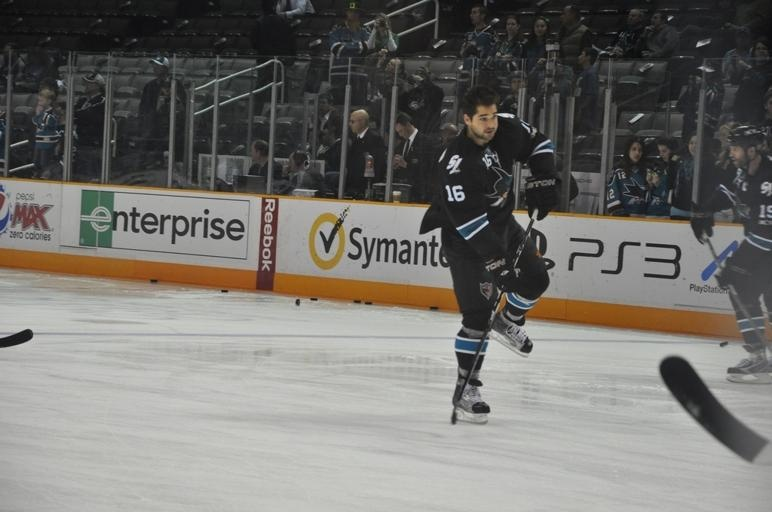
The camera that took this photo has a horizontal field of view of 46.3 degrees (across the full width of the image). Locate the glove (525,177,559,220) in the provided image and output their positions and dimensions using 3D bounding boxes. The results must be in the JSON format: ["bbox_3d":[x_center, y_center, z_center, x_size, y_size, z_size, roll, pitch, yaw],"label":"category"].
[{"bbox_3d":[1.368,-0.517,7.837,0.320,0.333,0.354,1,9,-12],"label":"glove"}]

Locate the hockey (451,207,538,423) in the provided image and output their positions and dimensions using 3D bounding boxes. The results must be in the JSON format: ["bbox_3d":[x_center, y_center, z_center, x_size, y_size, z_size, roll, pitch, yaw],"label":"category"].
[{"bbox_3d":[0.920,0.514,7.653,0.174,1.981,0.290,39,-16,-34],"label":"hockey"}]

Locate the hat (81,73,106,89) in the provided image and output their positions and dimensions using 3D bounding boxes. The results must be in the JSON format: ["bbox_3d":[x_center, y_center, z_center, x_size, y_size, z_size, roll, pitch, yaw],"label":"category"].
[{"bbox_3d":[-4.096,-2.462,12.675,0.265,0.221,0.109,-5,4,2],"label":"hat"}]

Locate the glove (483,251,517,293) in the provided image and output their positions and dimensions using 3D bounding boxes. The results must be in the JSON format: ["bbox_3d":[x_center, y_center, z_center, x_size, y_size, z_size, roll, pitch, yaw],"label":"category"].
[{"bbox_3d":[0.952,0.123,7.447,0.274,0.311,0.344,3,12,7],"label":"glove"}]

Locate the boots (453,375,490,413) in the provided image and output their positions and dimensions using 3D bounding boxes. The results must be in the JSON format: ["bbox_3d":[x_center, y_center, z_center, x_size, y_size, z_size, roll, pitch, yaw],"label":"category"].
[{"bbox_3d":[0.711,1.122,7.415,0.184,0.306,0.518,8,-1,-17],"label":"boots"}]

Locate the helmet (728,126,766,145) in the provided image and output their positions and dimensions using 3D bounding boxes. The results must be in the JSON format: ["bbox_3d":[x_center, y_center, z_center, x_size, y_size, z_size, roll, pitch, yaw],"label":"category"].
[{"bbox_3d":[4.055,-1.361,10.116,0.467,0.198,0.329,3,12,-6],"label":"helmet"}]
